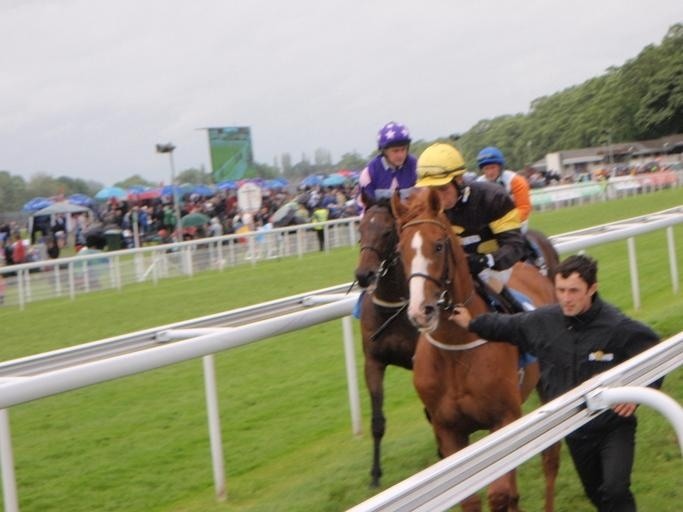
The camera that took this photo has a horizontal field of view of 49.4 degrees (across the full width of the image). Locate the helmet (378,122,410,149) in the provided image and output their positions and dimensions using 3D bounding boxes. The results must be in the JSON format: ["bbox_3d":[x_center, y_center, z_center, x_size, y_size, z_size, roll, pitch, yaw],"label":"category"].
[{"bbox_3d":[0.314,-0.715,4.398,0.186,0.148,0.153,-5,5,7],"label":"helmet"}]

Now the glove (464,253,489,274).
[{"bbox_3d":[0.671,0.035,3.624,0.110,0.090,0.077,-10,5,-3],"label":"glove"}]

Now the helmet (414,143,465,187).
[{"bbox_3d":[0.507,-0.446,3.714,0.279,0.161,0.194,-27,21,-37],"label":"helmet"}]

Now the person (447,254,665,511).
[{"bbox_3d":[0.951,0.551,3.145,0.794,1.064,0.588,-5,6,21],"label":"person"}]

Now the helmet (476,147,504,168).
[{"bbox_3d":[1.176,-0.756,5.746,0.195,0.133,0.141,14,-23,-33],"label":"helmet"}]
